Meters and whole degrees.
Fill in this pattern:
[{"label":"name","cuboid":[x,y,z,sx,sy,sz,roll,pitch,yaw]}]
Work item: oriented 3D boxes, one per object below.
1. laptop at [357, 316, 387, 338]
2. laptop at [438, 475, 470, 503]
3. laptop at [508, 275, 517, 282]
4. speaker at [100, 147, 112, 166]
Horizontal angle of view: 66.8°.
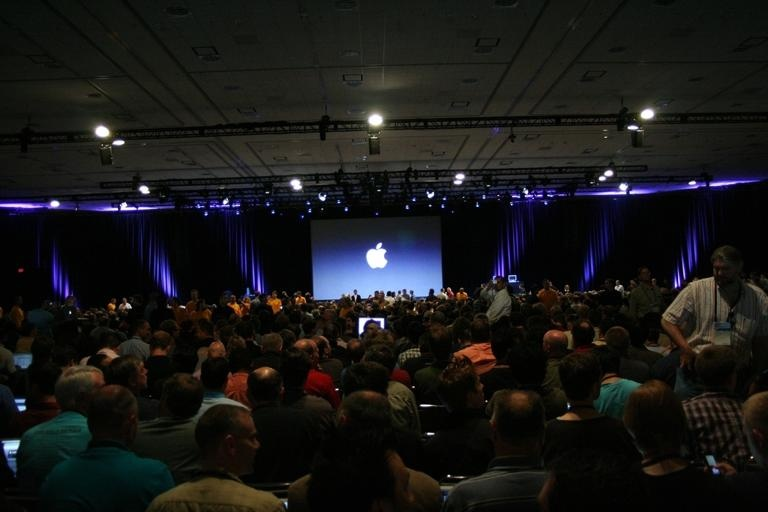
[{"label":"laptop","cuboid":[-0.260,1.385,12.176,0.864,0.548,0.464,0,-9,0]},{"label":"laptop","cuboid":[0.610,2.051,5.228,0.181,0.140,0.298,0,-23,-2]},{"label":"laptop","cuboid":[6.247,1.105,28.320,0.594,0.385,0.319,-2,-6,19]},{"label":"speaker","cuboid":[-6.524,-2.418,13.625,0.238,0.515,0.377,-1,-3,-32]}]
